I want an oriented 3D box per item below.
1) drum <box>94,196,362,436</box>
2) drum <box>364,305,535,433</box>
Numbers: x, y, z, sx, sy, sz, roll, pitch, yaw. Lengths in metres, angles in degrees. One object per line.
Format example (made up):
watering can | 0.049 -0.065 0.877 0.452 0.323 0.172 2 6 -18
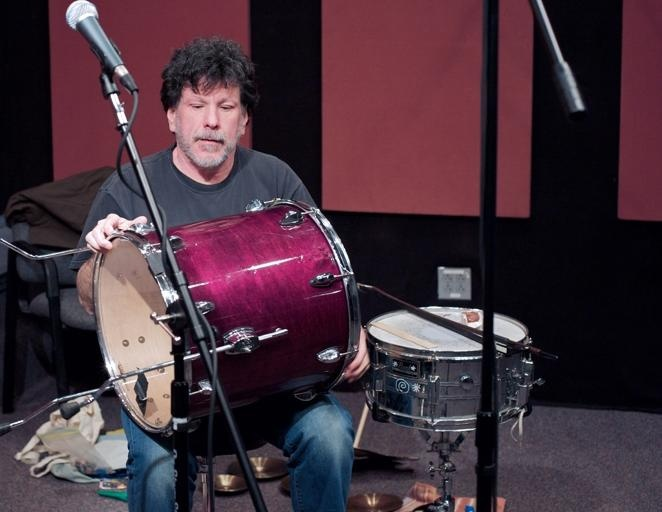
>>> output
drum | -0.340 0.153 2.674 0.699 0.670 0.611 -15 4 -33
drum | 0.409 0.417 2.892 0.588 0.388 0.490 1 7 17
